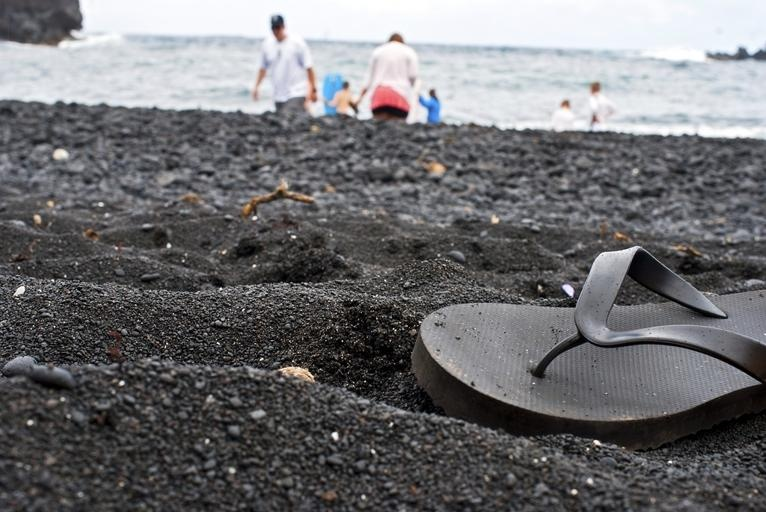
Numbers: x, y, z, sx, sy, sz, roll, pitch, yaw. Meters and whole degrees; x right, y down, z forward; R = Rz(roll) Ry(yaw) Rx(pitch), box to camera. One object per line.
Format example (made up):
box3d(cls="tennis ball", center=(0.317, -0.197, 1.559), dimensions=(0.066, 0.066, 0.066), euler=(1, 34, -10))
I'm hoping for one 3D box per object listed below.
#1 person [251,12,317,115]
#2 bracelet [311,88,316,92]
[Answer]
box3d(cls="person", center=(-0.753, -1.464, 7.681), dimensions=(0.488, 0.790, 0.568), euler=(2, 20, -6))
box3d(cls="bracelet", center=(-0.554, -1.301, 7.824), dimensions=(0.031, 0.023, 0.086), euler=(-1, -3, -1))
